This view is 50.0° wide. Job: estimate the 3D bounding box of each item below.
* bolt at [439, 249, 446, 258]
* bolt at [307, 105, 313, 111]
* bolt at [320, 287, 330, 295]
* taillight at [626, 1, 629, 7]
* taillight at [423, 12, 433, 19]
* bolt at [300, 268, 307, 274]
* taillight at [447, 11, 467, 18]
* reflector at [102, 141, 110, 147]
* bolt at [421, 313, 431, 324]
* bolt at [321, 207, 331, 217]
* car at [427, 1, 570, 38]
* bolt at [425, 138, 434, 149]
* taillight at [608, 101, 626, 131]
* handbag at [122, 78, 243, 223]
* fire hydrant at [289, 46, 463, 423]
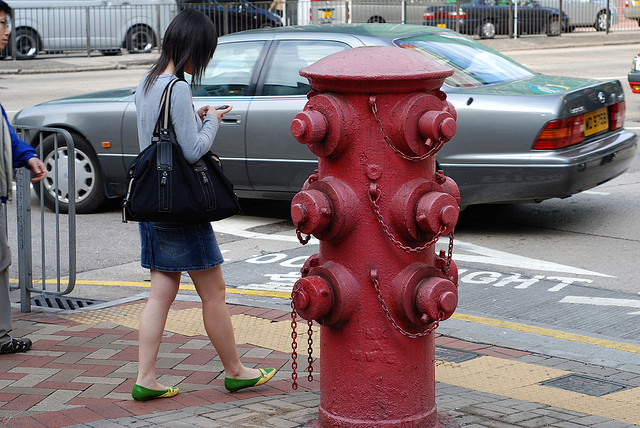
[{"bbox_3d":[0.658,0.208,3.650,0.037,0.034,0.034,-1,9,-5],"label":"bolt"},{"bbox_3d":[-0.052,-0.537,3.440,0.032,0.025,0.008,2,-2,15],"label":"bolt"},{"bbox_3d":[0.021,0.381,3.406,0.046,0.036,0.009,-4,-2,-1],"label":"bolt"},{"bbox_3d":[14.231,-9.791,31.792,0.195,0.261,0.310,0,8,11],"label":"taillight"},{"bbox_3d":[4.182,-7.729,26.594,0.104,0.240,0.379,-15,19,-43],"label":"taillight"},{"bbox_3d":[-0.086,0.296,3.614,0.031,0.023,0.029,2,-2,11],"label":"bolt"},{"bbox_3d":[5.314,-7.712,26.359,0.810,0.246,0.271,-6,15,-23],"label":"taillight"},{"bbox_3d":[-2.670,-0.878,8.542,0.119,0.066,0.058,0,3,-2],"label":"reflector"},{"bbox_3d":[0.521,0.517,3.408,0.036,0.035,0.051,3,-4,-14],"label":"bolt"},{"bbox_3d":[0.030,-0.014,3.362,0.050,0.040,0.041,-1,-8,3],"label":"bolt"},{"bbox_3d":[7.282,-8.067,27.767,5.517,1.486,2.075,-6,15,-19],"label":"car"},{"bbox_3d":[0.531,-0.357,3.331,0.040,0.036,0.036,7,7,34],"label":"bolt"},{"bbox_3d":[3.352,-1.124,7.778,0.042,0.202,0.394,5,17,41],"label":"taillight"},{"bbox_3d":[-0.812,-0.367,3.931,0.662,0.806,0.283,-3,15,-10],"label":"handbag"},{"bbox_3d":[0.257,0.129,3.491,0.876,1.915,0.533,1,15,8],"label":"fire hydrant"}]
